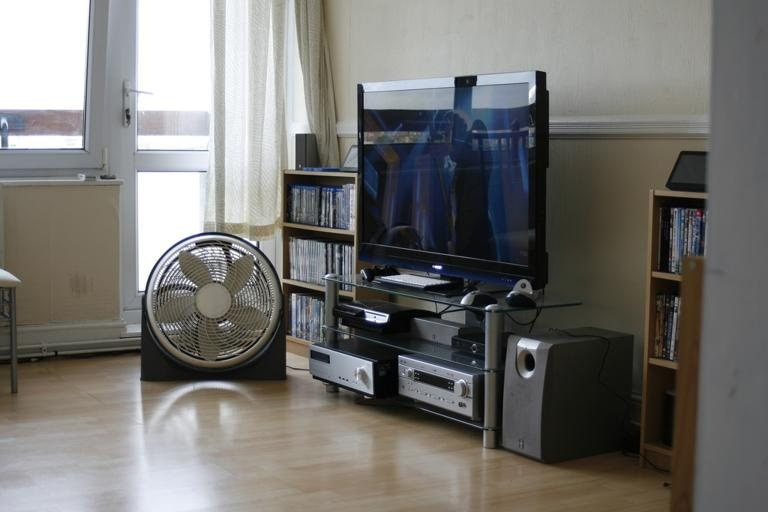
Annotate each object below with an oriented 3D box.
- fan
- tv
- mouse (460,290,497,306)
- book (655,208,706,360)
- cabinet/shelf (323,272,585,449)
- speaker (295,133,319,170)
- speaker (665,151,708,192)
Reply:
[{"bbox_3d":[-0.834,0.271,3.259,0.720,0.807,0.284,0,3,-10],"label":"fan"},{"bbox_3d":[0.309,-0.311,2.840,0.134,0.763,0.989,-5,6,-38],"label":"tv"},{"bbox_3d":[0.374,0.162,2.645,0.115,0.038,0.066,2,-2,-41],"label":"mouse"},{"bbox_3d":[1.014,0.099,2.239,0.097,0.533,0.208,0,5,-11],"label":"book"},{"bbox_3d":[0.281,0.403,3.018,0.620,0.564,1.233,-3,7,-40],"label":"cabinet/shelf"},{"bbox_3d":[-0.463,-0.633,4.014,0.152,0.210,0.084,0,5,-14],"label":"speaker"},{"bbox_3d":[1.012,-0.279,2.172,0.102,0.141,0.223,1,5,-2],"label":"speaker"}]
